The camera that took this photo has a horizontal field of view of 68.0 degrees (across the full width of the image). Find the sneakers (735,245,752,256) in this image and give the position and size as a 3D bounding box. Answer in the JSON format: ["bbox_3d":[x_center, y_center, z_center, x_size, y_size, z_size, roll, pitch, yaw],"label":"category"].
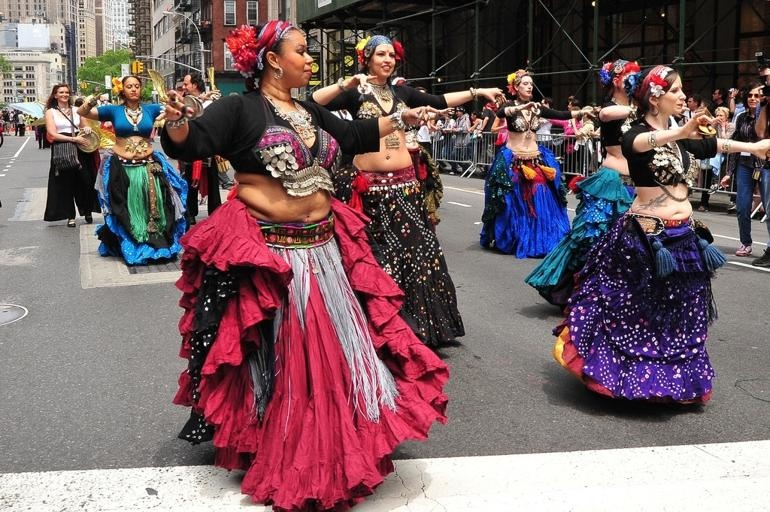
[{"bbox_3d":[5.695,-0.075,9.044,0.389,0.154,0.139,4,-14,-33],"label":"sneakers"}]

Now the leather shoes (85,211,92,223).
[{"bbox_3d":[-6.219,-0.797,12.046,0.106,0.109,0.275,-12,60,-43],"label":"leather shoes"}]
